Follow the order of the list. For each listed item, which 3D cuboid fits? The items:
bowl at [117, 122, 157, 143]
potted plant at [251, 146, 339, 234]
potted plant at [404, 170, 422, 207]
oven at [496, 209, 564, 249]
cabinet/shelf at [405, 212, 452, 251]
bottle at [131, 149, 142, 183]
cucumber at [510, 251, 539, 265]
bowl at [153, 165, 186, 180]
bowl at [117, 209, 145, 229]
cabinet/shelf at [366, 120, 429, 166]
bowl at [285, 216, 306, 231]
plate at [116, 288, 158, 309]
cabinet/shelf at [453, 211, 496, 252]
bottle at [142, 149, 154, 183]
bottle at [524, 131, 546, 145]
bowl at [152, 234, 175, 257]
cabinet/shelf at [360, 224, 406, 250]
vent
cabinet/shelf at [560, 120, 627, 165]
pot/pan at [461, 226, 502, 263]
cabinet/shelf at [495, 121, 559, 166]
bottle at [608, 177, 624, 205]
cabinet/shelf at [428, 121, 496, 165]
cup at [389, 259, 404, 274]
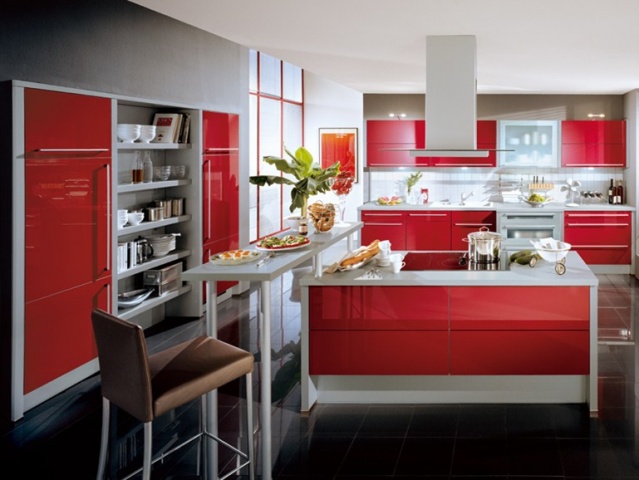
[{"bbox_3d":[-1.744,-0.970,4.424,0.210,0.167,0.403,4,12,22],"label":"bowl"},{"bbox_3d":[-0.089,-0.382,3.524,0.535,0.516,0.676,19,30,26],"label":"potted plant"},{"bbox_3d":[1.599,-0.897,8.120,0.303,0.518,0.186,1,11,8],"label":"potted plant"},{"bbox_3d":[3.172,-0.148,7.566,1.095,0.604,0.549,0,1,-12],"label":"oven"},{"bbox_3d":[1.685,-0.125,7.640,0.816,0.676,0.592,0,-3,4],"label":"cabinet/shelf"},{"bbox_3d":[-1.747,-0.688,4.562,0.110,0.289,0.301,-5,12,-20],"label":"bottle"},{"bbox_3d":[1.605,0.141,3.759,0.214,0.097,0.233,5,12,25],"label":"cucumber"},{"bbox_3d":[-1.590,-0.696,5.019,0.201,0.083,0.212,-1,-1,0],"label":"bowl"},{"bbox_3d":[-1.744,-0.188,4.392,0.199,0.100,0.175,0,2,24],"label":"bowl"},{"bbox_3d":[1.191,-1.595,8.176,1.135,0.744,0.627,-3,13,-15],"label":"cabinet/shelf"},{"bbox_3d":[-0.157,-0.110,3.441,0.128,0.067,0.122,0,12,0],"label":"bowl"},{"bbox_3d":[-1.790,0.563,4.564,0.232,0.110,0.491,0,11,3],"label":"plate"},{"bbox_3d":[1.952,-0.143,6.011,0.644,0.570,0.411,0,-4,4],"label":"cabinet/shelf"},{"bbox_3d":[-1.699,-0.710,4.687,0.085,0.290,0.350,-5,12,-20],"label":"bottle"},{"bbox_3d":[3.427,-1.594,7.584,0.337,0.201,0.072,-1,3,8],"label":"bottle"},{"bbox_3d":[-1.601,0.062,4.921,0.107,0.196,0.301,7,14,35],"label":"bowl"},{"bbox_3d":[1.022,-0.091,7.604,0.823,0.501,0.421,1,-1,0],"label":"cabinet/shelf"},{"bbox_3d":[1.135,-1.279,4.568,1.040,1.066,0.850,-1,5,8],"label":"vent"},{"bbox_3d":[4.258,-1.492,7.677,1.079,0.708,0.507,-1,2,-5],"label":"cabinet/shelf"},{"bbox_3d":[1.312,0.050,3.812,0.347,0.224,0.218,-4,12,-9],"label":"pot/pan"},{"bbox_3d":[3.330,-1.536,7.561,1.147,0.849,0.363,1,1,4],"label":"cabinet/shelf"},{"bbox_3d":[4.686,-0.738,7.505,0.222,0.367,0.362,3,12,18],"label":"bottle"},{"bbox_3d":[2.301,-1.500,7.943,1.121,0.690,0.586,1,3,0],"label":"cabinet/shelf"},{"bbox_3d":[0.574,0.203,3.622,0.115,0.094,0.098,3,5,24],"label":"cup"}]
